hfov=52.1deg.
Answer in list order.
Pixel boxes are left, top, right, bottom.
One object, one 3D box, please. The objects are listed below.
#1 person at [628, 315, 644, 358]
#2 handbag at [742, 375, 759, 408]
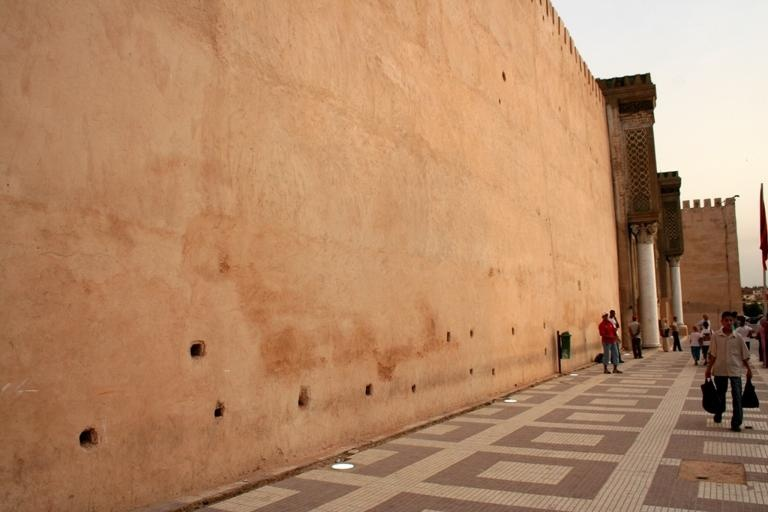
[{"bbox_3d":[6.248,2.047,19.515,0.288,1.074,1.232,1,3,18],"label":"person"},{"bbox_3d":[4.697,1.800,10.110,0.183,0.511,0.963,2,3,27],"label":"handbag"}]
